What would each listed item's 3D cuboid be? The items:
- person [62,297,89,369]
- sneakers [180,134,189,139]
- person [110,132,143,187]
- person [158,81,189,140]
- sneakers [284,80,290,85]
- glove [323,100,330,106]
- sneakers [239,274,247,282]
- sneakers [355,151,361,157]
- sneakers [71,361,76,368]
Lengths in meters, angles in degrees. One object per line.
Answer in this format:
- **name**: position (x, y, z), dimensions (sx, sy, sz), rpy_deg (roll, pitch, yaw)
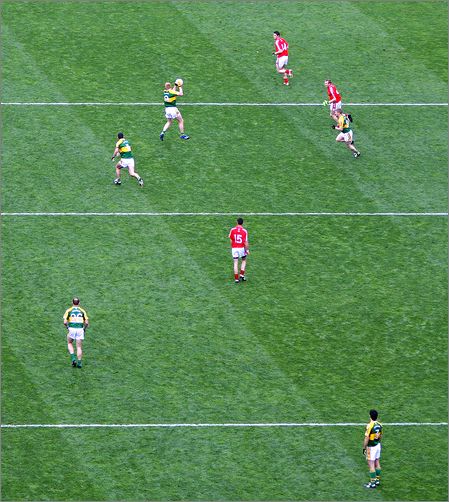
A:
- **person**: position (-3.160, 1.701, 25.835), dimensions (0.466, 1.508, 0.777), rpy_deg (-3, 33, -6)
- **sneakers**: position (-1.191, -3.249, 34.744), dimensions (0.242, 0.144, 0.115), rpy_deg (-3, 43, -7)
- **person**: position (-2.547, -2.303, 31.940), dimensions (0.648, 1.359, 1.659), rpy_deg (-8, 22, -26)
- **person**: position (-1.492, -4.092, 34.726), dimensions (0.801, 1.872, 1.459), rpy_deg (-1, 32, -3)
- **sneakers**: position (1.834, -5.211, 37.901), dimensions (0.145, 0.125, 0.084), rpy_deg (4, 29, 10)
- **glove**: position (2.879, -4.340, 35.897), dimensions (0.176, 0.183, 0.360), rpy_deg (1, 5, -2)
- **sneakers**: position (0.368, 0.658, 28.976), dimensions (0.145, 0.153, 0.373), rpy_deg (0, -9, 3)
- **sneakers**: position (3.634, -2.716, 34.221), dimensions (0.174, 0.154, 0.091), rpy_deg (-5, 54, -3)
- **sneakers**: position (-3.206, 2.416, 25.864), dimensions (0.076, 0.131, 0.143), rpy_deg (4, 30, -3)
